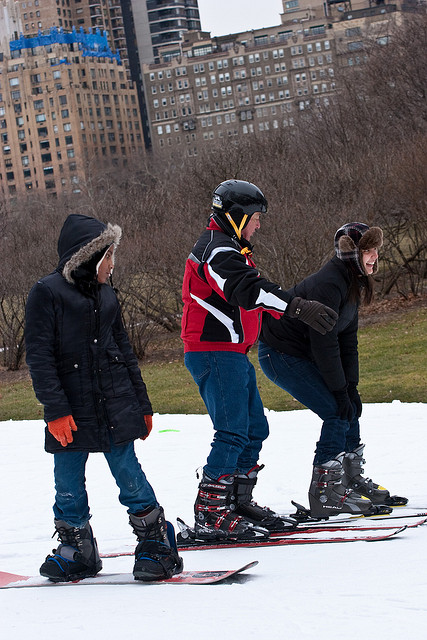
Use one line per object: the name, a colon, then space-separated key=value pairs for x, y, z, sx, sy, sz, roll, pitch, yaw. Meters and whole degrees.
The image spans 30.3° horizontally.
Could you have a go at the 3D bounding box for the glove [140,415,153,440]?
glove: x=-0.324 y=0.520 z=3.835 sx=0.046 sy=0.100 sz=0.081 roll=17 pitch=21 yaw=-2

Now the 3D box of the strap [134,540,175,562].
strap: x=-0.280 y=1.036 z=3.568 sx=0.134 sy=0.053 sz=0.081 roll=2 pitch=5 yaw=18

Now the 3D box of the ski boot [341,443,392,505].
ski boot: x=0.939 y=0.965 z=4.860 sx=0.151 sy=0.360 sz=0.426 roll=4 pitch=-6 yaw=-44

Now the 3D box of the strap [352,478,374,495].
strap: x=0.910 y=1.003 z=4.811 sx=0.111 sy=0.074 sz=0.075 roll=27 pitch=-7 yaw=27

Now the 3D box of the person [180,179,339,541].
person: x=0.143 y=0.194 z=4.227 sx=0.672 sy=1.636 sz=1.005 roll=-8 pitch=-3 yaw=-21

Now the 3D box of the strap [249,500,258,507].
strap: x=0.220 y=1.057 z=4.583 sx=0.031 sy=0.036 sz=0.041 roll=4 pitch=-3 yaw=34

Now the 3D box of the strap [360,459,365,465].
strap: x=0.930 y=0.878 z=4.921 sx=0.038 sy=0.044 sz=0.044 roll=-3 pitch=-13 yaw=2

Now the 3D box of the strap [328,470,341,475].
strap: x=0.693 y=0.872 z=4.554 sx=0.048 sy=0.015 sz=0.033 roll=0 pitch=-2 yaw=-5

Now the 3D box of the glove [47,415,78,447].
glove: x=-0.661 y=0.486 z=3.509 sx=0.140 sy=0.125 sz=0.047 roll=-28 pitch=14 yaw=-25

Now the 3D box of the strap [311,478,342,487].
strap: x=0.647 y=0.941 z=4.579 sx=0.166 sy=0.042 sz=0.068 roll=-6 pitch=-3 yaw=1

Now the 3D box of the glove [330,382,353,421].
glove: x=0.748 y=0.474 z=4.529 sx=0.094 sy=0.193 sz=0.168 roll=-11 pitch=-4 yaw=39

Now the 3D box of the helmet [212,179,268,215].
helmet: x=0.131 y=-0.671 z=4.292 sx=0.282 sy=0.144 sz=0.186 roll=8 pitch=6 yaw=-3

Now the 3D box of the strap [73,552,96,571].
strap: x=-0.606 y=1.114 z=3.683 sx=0.102 sy=0.035 sz=0.072 roll=34 pitch=-9 yaw=-7

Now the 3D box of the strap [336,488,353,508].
strap: x=0.755 y=1.034 z=4.605 sx=0.128 sy=0.030 sz=0.048 roll=-47 pitch=6 yaw=-2

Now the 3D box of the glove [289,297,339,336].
glove: x=0.486 y=-0.028 z=3.877 sx=0.247 sy=0.164 sz=0.084 roll=-6 pitch=-3 yaw=-13

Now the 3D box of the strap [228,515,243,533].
strap: x=0.111 y=1.101 z=4.268 sx=0.032 sy=0.032 sz=0.122 roll=-50 pitch=-6 yaw=16

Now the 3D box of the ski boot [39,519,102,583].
ski boot: x=-0.694 y=1.074 z=3.696 sx=0.165 sy=0.272 sz=0.372 roll=-20 pitch=-17 yaw=33

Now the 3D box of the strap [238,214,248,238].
strap: x=0.154 y=-0.514 z=4.217 sx=0.032 sy=0.094 sz=0.074 roll=18 pitch=-25 yaw=-15

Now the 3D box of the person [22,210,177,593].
person: x=-0.603 y=0.337 z=3.638 sx=0.626 sy=1.367 sz=0.507 roll=-8 pitch=-3 yaw=-9

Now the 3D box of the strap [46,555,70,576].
strap: x=-0.710 y=1.120 z=3.640 sx=0.073 sy=0.087 sz=0.040 roll=-5 pitch=28 yaw=42

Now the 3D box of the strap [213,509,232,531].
strap: x=0.036 y=1.070 z=4.256 sx=0.039 sy=0.153 sz=0.050 roll=36 pitch=-15 yaw=0

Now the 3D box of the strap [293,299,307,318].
strap: x=0.413 y=-0.060 z=3.841 sx=0.030 sy=0.076 sz=0.060 roll=37 pitch=-5 yaw=-3

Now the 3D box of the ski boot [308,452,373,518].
ski boot: x=0.752 y=0.968 z=4.601 sx=0.435 sy=0.361 sz=0.171 roll=-6 pitch=-18 yaw=36
